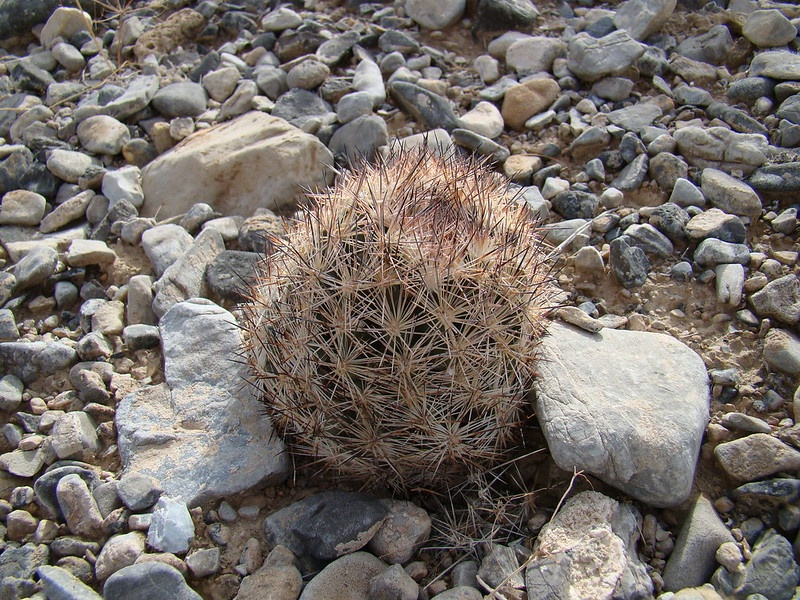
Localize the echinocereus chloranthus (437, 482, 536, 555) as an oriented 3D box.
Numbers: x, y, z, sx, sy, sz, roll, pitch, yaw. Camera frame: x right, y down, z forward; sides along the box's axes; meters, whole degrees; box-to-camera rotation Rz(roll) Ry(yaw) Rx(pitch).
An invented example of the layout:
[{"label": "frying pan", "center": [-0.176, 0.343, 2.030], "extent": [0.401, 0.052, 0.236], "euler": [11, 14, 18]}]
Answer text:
[{"label": "echinocereus chloranthus", "center": [0.401, 1.074, 3.263], "extent": [0.349, 0.281, 0.348], "euler": [-19, 2, 38]}]
